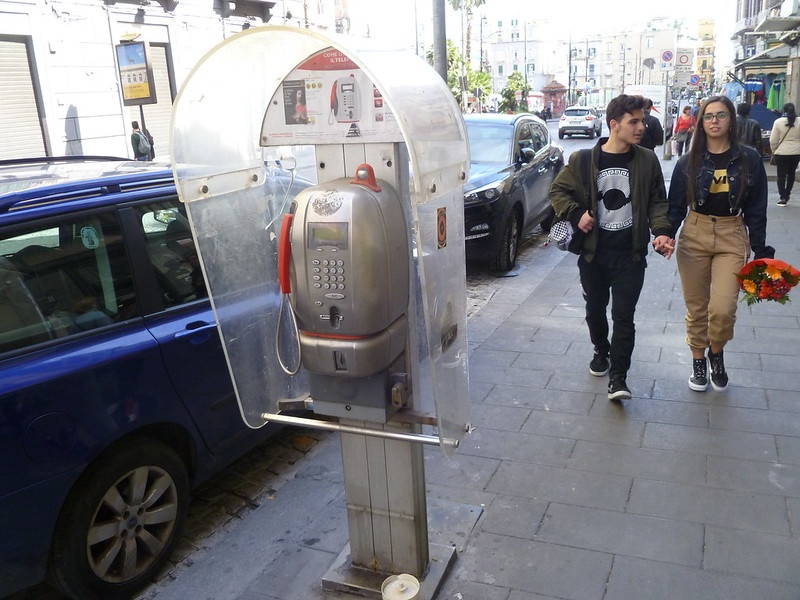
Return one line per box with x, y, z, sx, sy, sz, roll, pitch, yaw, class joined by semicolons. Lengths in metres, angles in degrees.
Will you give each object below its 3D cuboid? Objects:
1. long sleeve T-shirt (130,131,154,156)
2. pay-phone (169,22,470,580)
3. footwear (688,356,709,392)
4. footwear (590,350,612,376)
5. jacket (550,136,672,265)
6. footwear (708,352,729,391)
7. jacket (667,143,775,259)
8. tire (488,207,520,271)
-7.178;-4.299;14.772;0.397;0.784;0.579;-6;19;4;long sleeve T-shirt
-0.333;0.058;2.654;1.464;2.590;0.727;11;24;35;pay-phone
2.512;0.632;4.449;0.111;0.152;0.346;1;10;17;footwear
1.790;0.563;4.736;0.230;0.293;0.660;0;-3;21;footwear
1.642;-0.775;4.163;0.877;0.862;0.466;7;22;26;jacket
2.638;0.605;4.427;0.114;0.141;0.363;-2;61;15;footwear
2.479;-0.762;4.133;0.727;0.811;0.436;5;21;22;jacket
1.608;-0.881;8.137;0.256;0.915;1.025;9;23;31;tire
